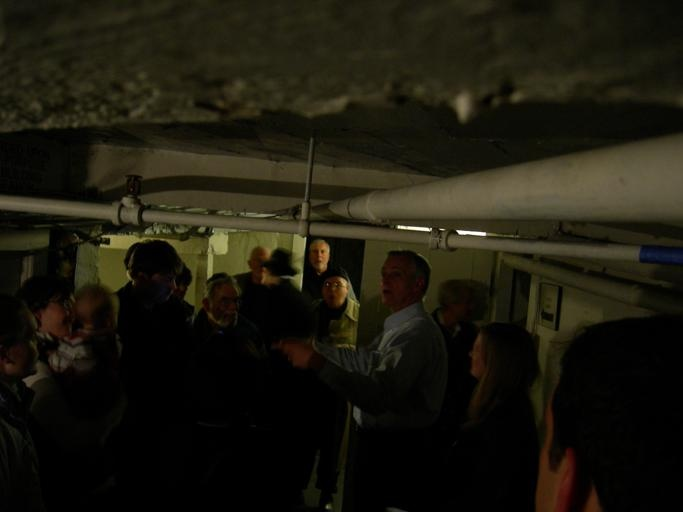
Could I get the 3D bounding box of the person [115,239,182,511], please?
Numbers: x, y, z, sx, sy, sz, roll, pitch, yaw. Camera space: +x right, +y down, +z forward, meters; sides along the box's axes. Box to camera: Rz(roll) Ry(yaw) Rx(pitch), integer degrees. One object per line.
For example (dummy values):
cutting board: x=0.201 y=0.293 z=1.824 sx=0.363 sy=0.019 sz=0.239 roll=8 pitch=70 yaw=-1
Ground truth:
person: x=-0.930 y=0.575 z=2.874 sx=0.326 sy=1.073 sz=0.084 roll=4 pitch=1 yaw=-16
